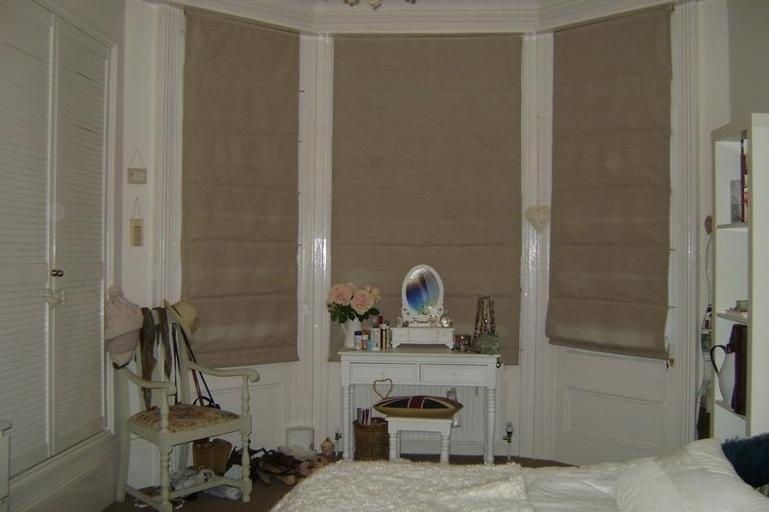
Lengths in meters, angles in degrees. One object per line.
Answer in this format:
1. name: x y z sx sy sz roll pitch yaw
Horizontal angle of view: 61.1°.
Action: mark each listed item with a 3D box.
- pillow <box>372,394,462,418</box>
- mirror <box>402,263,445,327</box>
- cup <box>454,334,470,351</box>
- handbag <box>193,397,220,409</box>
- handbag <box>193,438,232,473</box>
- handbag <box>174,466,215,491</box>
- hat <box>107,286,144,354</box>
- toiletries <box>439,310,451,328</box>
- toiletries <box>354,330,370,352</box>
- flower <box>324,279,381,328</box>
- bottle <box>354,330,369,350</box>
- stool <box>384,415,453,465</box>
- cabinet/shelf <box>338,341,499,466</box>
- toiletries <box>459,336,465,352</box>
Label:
1. pillow: 0.263 1.236 5.335 0.684 0.173 0.199 -2 -5 12
2. mirror: 0.338 0.349 5.862 0.400 0.570 0.039 0 18 2
3. cup: 0.691 0.779 5.859 0.153 0.159 0.114 1 -8 4
4. handbag: -1.530 1.255 5.578 0.201 0.077 0.124 3 -32 19
5. handbag: -1.490 1.726 5.596 0.229 0.348 0.249 5 2 33
6. handbag: -1.578 1.813 5.317 0.217 0.078 0.173 -1 -2 29
7. hat: -2.066 0.510 5.169 0.392 0.458 0.151 5 -3 -44
8. toiletries: 0.548 0.561 5.866 0.088 0.155 0.109 -5 -6 41
9. toiletries: -0.223 0.746 5.789 0.172 0.180 0.102 2 -4 -6
10. flower: -0.323 0.448 5.813 0.350 0.269 0.372 -6 20 -20
11. bottle: -0.196 0.743 5.813 0.137 0.165 0.147 0 -7 0
12. stool: 0.287 1.414 5.336 0.470 0.479 0.452 0 -10 5
13. cabinet/shelf: 0.297 1.250 5.635 1.019 0.806 0.392 0 -4 2
14. toiletries: 0.695 0.787 5.816 0.069 0.100 0.038 1 3 6
